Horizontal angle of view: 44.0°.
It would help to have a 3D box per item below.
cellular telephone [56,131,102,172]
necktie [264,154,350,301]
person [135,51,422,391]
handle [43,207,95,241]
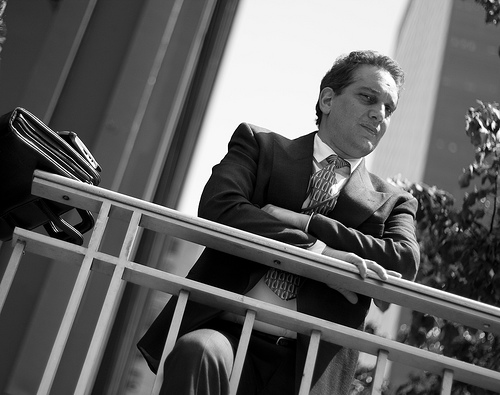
[{"bbox_3d":[-0.647,-0.185,2.348,0.151,0.039,0.120,45,-4,-16],"label":"cellular telephone"},{"bbox_3d":[0.236,0.103,2.451,0.113,0.661,0.253,-3,-24,44],"label":"necktie"},{"bbox_3d":[0.223,0.041,2.450,0.993,1.605,0.526,17,-17,-8],"label":"person"},{"bbox_3d":[-0.704,0.104,2.413,0.153,0.159,0.052,22,26,6],"label":"handle"}]
